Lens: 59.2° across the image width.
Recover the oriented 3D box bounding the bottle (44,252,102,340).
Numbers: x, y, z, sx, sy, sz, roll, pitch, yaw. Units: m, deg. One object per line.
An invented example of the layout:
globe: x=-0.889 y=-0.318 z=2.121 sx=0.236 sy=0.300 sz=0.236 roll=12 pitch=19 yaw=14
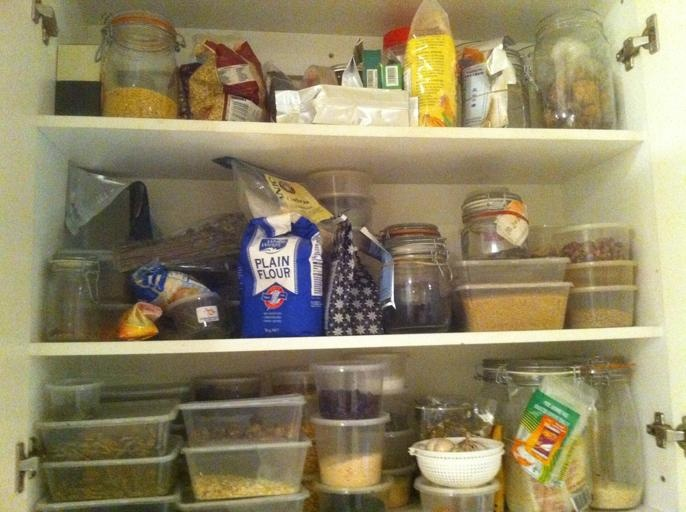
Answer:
bottle: x=-0.575 y=0.092 z=1.281 sx=0.108 sy=0.148 sz=0.043 roll=-3 pitch=-1 yaw=-26
